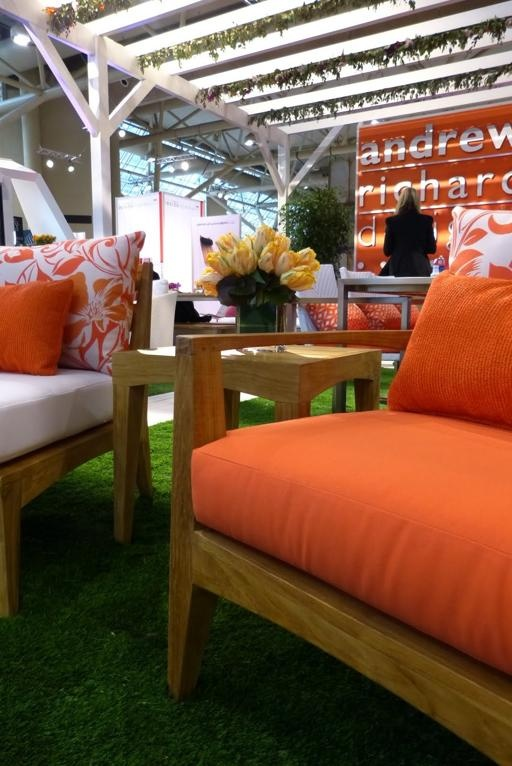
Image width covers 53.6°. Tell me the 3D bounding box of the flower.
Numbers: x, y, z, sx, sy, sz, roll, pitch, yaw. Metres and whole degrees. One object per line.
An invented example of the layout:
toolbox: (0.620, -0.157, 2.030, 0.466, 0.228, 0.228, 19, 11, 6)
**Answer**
flower: (0.014, -0.264, 1.289, 0.224, 0.198, 0.226, 15, 13, 40)
